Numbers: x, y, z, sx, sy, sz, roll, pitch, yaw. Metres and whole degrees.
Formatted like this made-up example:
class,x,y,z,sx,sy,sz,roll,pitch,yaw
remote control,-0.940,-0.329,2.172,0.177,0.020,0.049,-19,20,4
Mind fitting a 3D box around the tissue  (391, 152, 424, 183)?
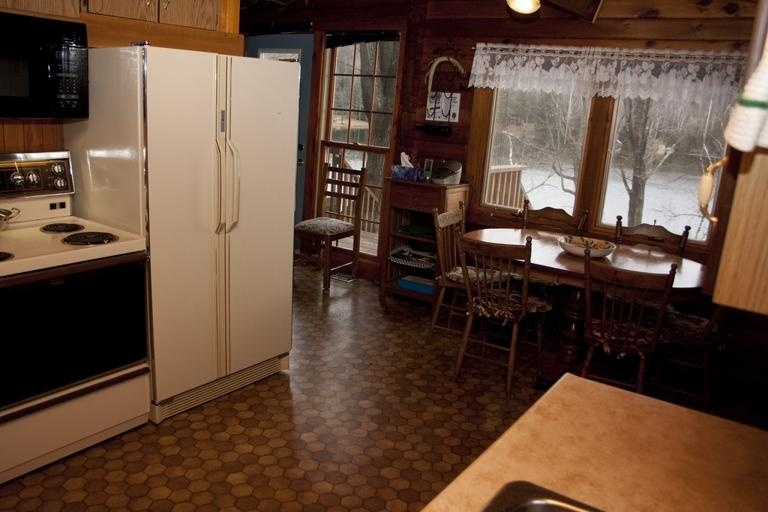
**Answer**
class,x,y,z,sx,sy,sz,roll,pitch,yaw
tissue ,0.247,-0.853,5.156,0.235,0.124,0.371,9,18,21
